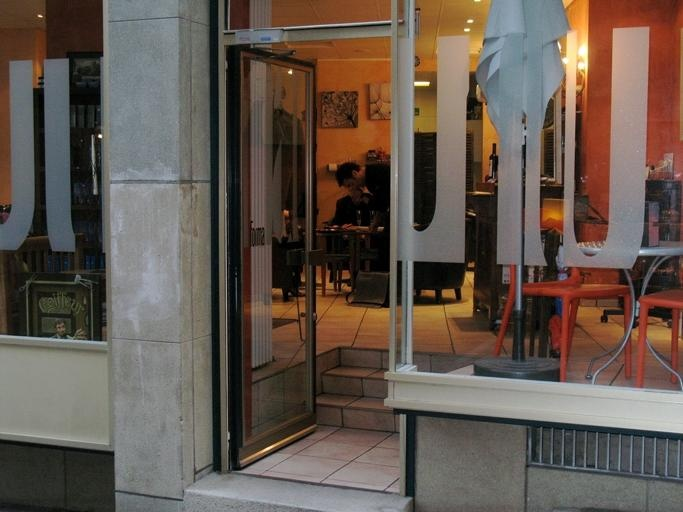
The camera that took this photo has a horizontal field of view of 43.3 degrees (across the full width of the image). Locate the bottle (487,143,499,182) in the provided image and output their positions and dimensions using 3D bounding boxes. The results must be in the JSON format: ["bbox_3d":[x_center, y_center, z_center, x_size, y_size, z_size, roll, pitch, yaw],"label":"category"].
[{"bbox_3d":[0.870,-0.522,4.908,0.079,0.205,0.045,4,3,41],"label":"bottle"}]

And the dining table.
[{"bbox_3d":[0.065,0.021,10.400,0.831,0.839,0.714,0,-1,15],"label":"dining table"}]

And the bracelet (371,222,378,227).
[{"bbox_3d":[0.396,-0.371,10.281,0.086,0.049,0.048,-6,11,-32],"label":"bracelet"}]
